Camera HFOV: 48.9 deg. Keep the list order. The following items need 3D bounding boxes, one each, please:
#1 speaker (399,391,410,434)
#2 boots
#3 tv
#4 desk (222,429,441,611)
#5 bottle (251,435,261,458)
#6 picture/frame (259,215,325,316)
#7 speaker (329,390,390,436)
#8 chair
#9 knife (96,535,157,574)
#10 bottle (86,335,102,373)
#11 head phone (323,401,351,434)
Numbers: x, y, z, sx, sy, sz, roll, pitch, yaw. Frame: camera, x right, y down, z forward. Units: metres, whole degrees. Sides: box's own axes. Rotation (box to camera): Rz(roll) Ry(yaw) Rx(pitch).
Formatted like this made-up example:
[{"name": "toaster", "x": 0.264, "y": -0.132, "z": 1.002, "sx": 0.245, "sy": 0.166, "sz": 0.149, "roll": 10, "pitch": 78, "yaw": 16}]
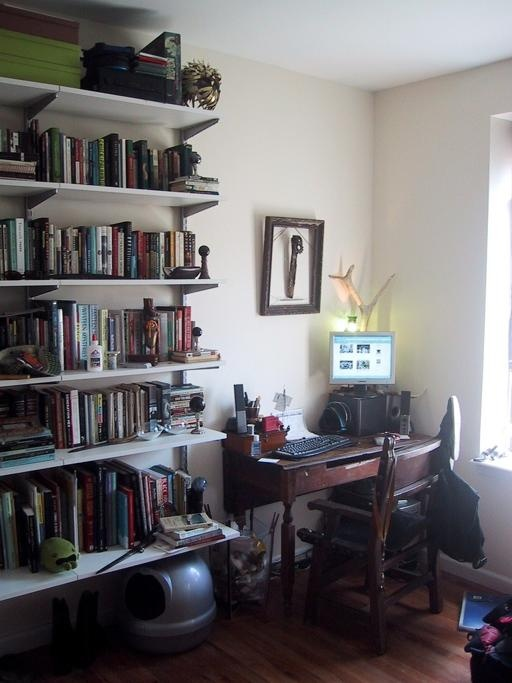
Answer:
[{"name": "speaker", "x": 0.842, "y": 0.401, "z": 3.175, "sx": 0.059, "sy": 0.237, "sz": 0.112, "roll": 1, "pitch": -1, "yaw": 16}, {"name": "boots", "x": -0.692, "y": 1.118, "z": 2.186, "sx": 0.196, "sy": 0.260, "sz": 0.155, "roll": 2, "pitch": -1, "yaw": -20}, {"name": "tv", "x": 0.615, "y": 0.116, "z": 3.247, "sx": 0.370, "sy": 0.335, "sz": 0.058, "roll": 2, "pitch": -2, "yaw": -6}, {"name": "desk", "x": 0.377, "y": 0.819, "z": 2.898, "sx": 0.896, "sy": 0.581, "sz": 0.465, "roll": -2, "pitch": 2, "yaw": -35}, {"name": "bottle", "x": 0.000, "y": 0.495, "z": 2.669, "sx": 0.043, "sy": 0.071, "sz": 0.042, "roll": 1, "pitch": -1, "yaw": 0}, {"name": "picture/frame", "x": 0.185, "y": -0.436, "z": 3.116, "sx": 0.077, "sy": 0.673, "sz": 0.572, "roll": 6, "pitch": 2, "yaw": 40}, {"name": "speaker", "x": 0.586, "y": 0.422, "z": 3.283, "sx": 0.277, "sy": 0.274, "sz": 0.286, "roll": 6, "pitch": -11, "yaw": -16}, {"name": "chair", "x": 0.546, "y": 0.852, "z": 2.614, "sx": 0.502, "sy": 0.824, "sz": 0.601, "roll": -1, "pitch": -1, "yaw": 44}, {"name": "knife", "x": -0.494, "y": 0.812, "z": 2.126, "sx": 0.080, "sy": 0.060, "sz": 0.267, "roll": -2, "pitch": 16, "yaw": 44}, {"name": "bottle", "x": -0.608, "y": 0.043, "z": 2.118, "sx": 0.050, "sy": 0.114, "sz": 0.080, "roll": 2, "pitch": -1, "yaw": -21}, {"name": "head phone", "x": 0.432, "y": 0.431, "z": 3.221, "sx": 0.093, "sy": 0.181, "sz": 0.255, "roll": 2, "pitch": -1, "yaw": -25}]
